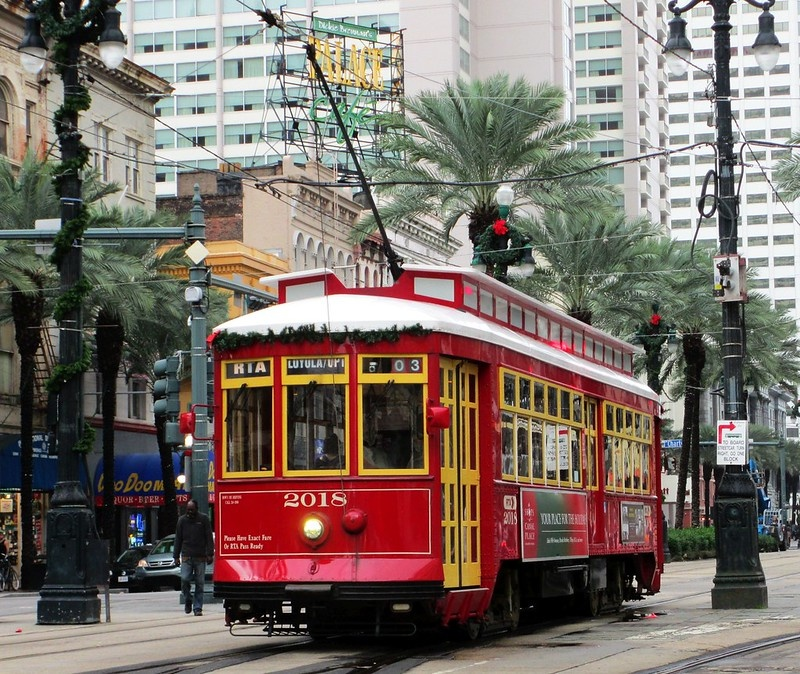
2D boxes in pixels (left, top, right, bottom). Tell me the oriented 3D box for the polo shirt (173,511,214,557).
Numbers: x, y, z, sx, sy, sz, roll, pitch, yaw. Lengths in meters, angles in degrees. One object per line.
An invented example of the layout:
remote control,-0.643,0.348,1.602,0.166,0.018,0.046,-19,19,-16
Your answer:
polo shirt,-3.451,3.348,28.829,0.635,0.962,0.297,1,13,-2

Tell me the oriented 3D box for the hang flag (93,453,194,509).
hang flag,-7.823,4.749,54.591,2.943,1.854,2.392,-2,-12,11

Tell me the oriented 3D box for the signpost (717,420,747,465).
signpost,5.478,1.781,28.226,0.513,0.812,0.112,-3,-27,19

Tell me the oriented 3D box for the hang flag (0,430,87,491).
hang flag,-8.241,2.882,39.187,1.762,1.297,1.932,0,-9,-1

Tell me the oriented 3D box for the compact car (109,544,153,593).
compact car,-7.230,6.174,45.815,0.746,0.826,1.783,-1,-9,4
